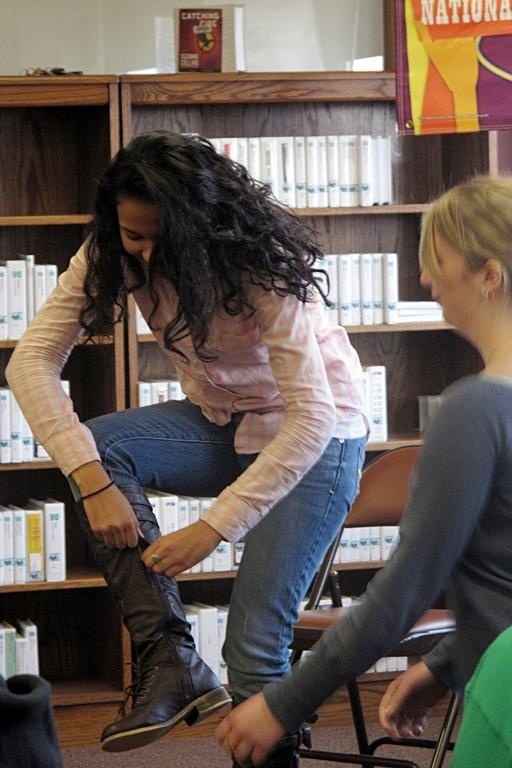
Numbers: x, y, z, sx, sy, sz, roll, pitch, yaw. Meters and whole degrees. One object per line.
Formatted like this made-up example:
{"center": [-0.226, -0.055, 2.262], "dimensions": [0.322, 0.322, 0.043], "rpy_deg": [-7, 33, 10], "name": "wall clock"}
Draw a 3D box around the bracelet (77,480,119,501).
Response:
{"center": [-0.268, 0.187, 1.354], "dimensions": [0.042, 0.010, 0.043], "rpy_deg": [-24, -10, 21], "name": "bracelet"}
